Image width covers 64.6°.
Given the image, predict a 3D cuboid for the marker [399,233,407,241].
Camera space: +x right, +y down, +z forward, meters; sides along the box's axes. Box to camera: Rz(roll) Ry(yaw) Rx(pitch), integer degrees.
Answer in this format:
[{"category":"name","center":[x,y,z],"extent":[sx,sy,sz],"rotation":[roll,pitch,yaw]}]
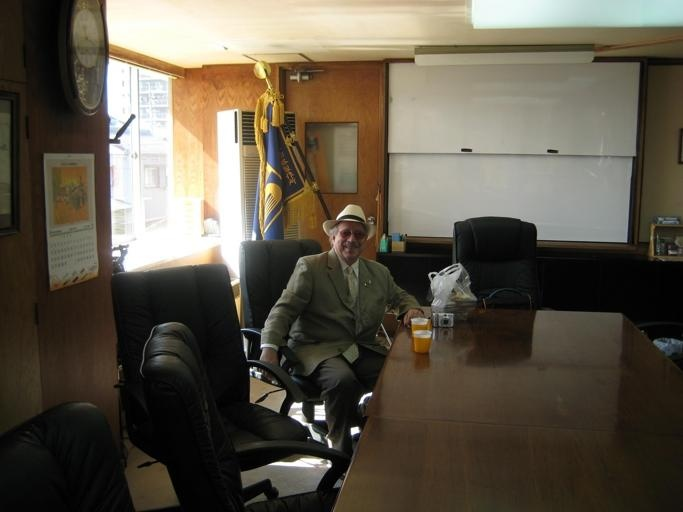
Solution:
[{"category":"marker","center":[0.614,-0.185,5.353],"extent":[0.055,0.071,0.078],"rotation":[-2,-12,10]}]

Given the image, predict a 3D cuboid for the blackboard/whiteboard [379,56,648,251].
[{"category":"blackboard/whiteboard","center":[1.731,-1.011,5.106],"extent":[1.621,1.325,0.084],"rotation":[1,5,5]}]

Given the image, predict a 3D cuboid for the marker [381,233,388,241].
[{"category":"marker","center":[0.426,-0.181,5.291],"extent":[0.058,0.100,0.061],"rotation":[0,2,-22]}]

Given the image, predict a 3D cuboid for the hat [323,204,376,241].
[{"category":"hat","center":[0.071,-0.238,3.835],"extent":[0.311,0.154,0.384],"rotation":[1,-15,0]}]

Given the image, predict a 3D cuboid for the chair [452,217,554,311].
[{"category":"chair","center":[1.160,0.047,4.025],"extent":[0.521,0.835,0.677],"rotation":[0,5,2]}]

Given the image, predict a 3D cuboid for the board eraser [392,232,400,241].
[{"category":"board eraser","center":[0.541,-0.180,5.337],"extent":[0.059,0.086,0.080],"rotation":[-11,16,-25]}]

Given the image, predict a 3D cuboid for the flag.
[{"category":"flag","center":[-0.496,-0.759,4.602],"extent":[0.531,1.254,0.361],"rotation":[-1,9,-7]}]
